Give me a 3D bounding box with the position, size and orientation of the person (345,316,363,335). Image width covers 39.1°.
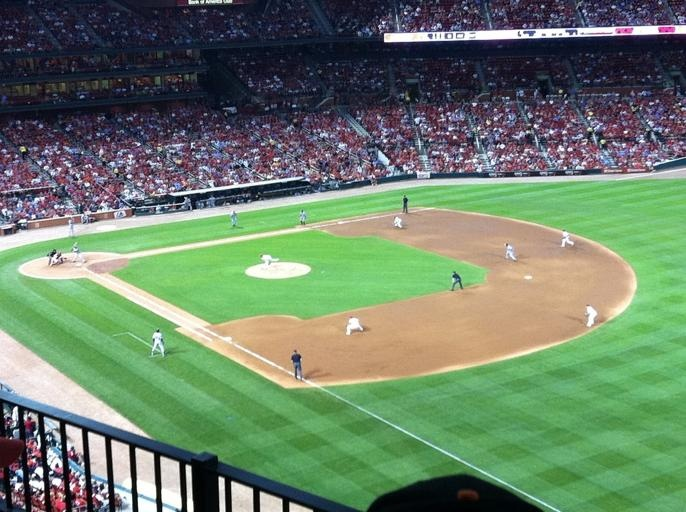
[{"bbox_3d":[0.589,4.425,63.571,1.142,0.378,1.170,-5,28,-7],"label":"person"}]
